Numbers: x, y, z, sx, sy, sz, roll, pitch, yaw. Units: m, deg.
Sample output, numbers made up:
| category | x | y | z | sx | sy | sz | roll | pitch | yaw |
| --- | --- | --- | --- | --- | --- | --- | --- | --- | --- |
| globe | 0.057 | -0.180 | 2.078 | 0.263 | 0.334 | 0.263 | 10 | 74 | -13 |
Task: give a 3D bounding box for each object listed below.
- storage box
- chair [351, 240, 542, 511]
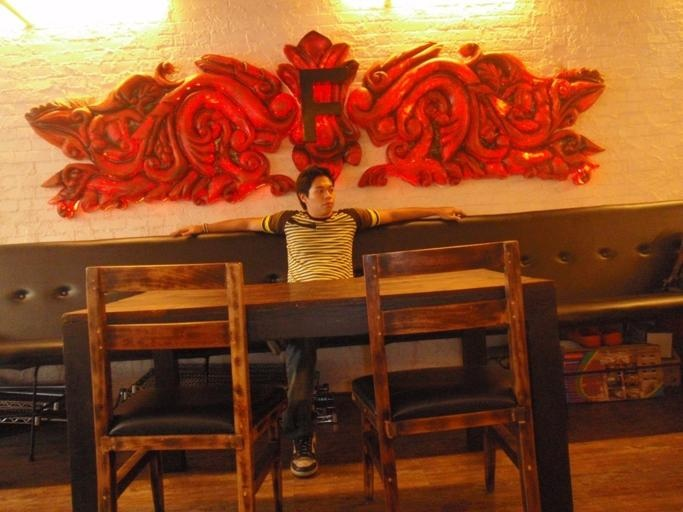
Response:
| category | x | y | z | sx | sy | sz | roll | pitch | yaw |
| --- | --- | --- | --- | --- | --- | --- | --- | --- | --- |
| storage box | 1.739 | 0.754 | 4.493 | 0.712 | 0.366 | 0.177 | -2 | 0 | -1 |
| chair | 0.479 | 0.597 | 3.294 | 0.839 | 1.235 | 0.455 | -4 | -1 | -1 |
